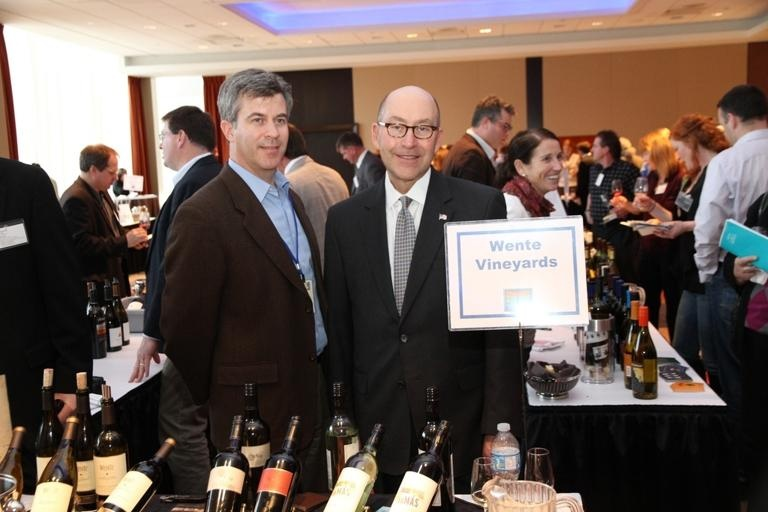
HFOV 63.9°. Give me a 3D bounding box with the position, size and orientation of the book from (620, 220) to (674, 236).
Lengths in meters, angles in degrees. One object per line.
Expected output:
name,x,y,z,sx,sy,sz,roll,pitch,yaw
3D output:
book,2.059,-0.232,4.844,0.205,0.073,0.207,-2,7,-16

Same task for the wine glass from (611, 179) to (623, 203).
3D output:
wine glass,2.155,-0.612,5.755,0.087,0.196,0.534,2,10,19

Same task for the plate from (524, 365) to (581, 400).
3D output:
plate,0.820,0.599,3.022,0.186,0.132,0.192,0,-4,1

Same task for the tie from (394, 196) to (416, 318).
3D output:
tie,0.083,0.001,2.596,0.084,0.504,0.054,-2,-19,8
